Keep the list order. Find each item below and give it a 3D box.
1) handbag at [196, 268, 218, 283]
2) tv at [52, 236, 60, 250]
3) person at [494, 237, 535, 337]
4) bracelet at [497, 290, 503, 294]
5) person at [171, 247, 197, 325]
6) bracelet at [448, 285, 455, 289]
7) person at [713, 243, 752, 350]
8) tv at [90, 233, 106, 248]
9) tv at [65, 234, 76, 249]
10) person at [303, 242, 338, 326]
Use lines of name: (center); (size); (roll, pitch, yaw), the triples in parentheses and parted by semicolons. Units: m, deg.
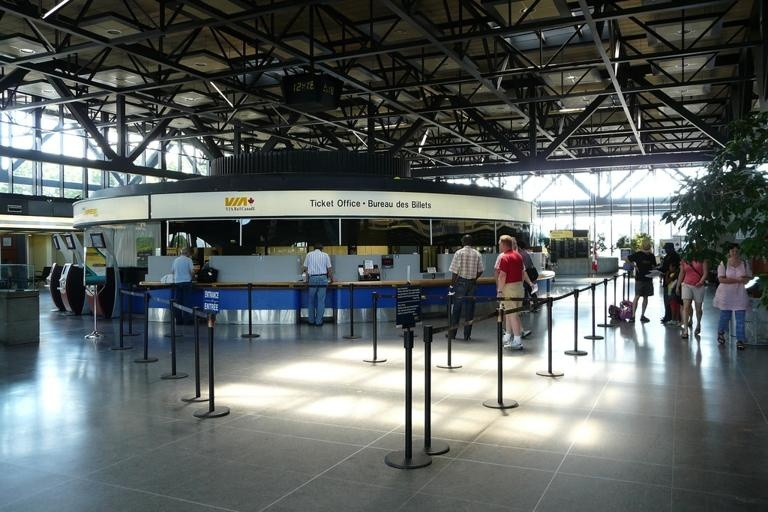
handbag: (-4.165, 0.489, 14.249); (0.665, 0.399, 0.331); (0, -11, 1)
tv: (-8.730, -0.394, 16.037); (0.107, 0.436, 2.188); (-5, 9, -30)
person: (2.399, 0.650, 11.211); (0.921, 2.034, 0.802); (-3, -2, 20)
bracelet: (2.094, 0.667, 10.919); (0.070, 0.064, 0.063); (4, 8, 23)
person: (-4.542, 0.504, 13.669); (0.461, 1.305, 0.471); (-4, 9, -19)
bracelet: (1.382, 0.627, 12.058); (0.124, 0.055, 0.160); (0, -1, -1)
person: (6.220, 0.743, 10.774); (0.526, 1.808, 0.571); (4, 9, 27)
tv: (-6.740, -0.365, 14.231); (0.359, 0.450, 0.258); (1, 19, -3)
tv: (-7.710, -0.335, 14.807); (0.171, 0.401, 0.439); (-7, 10, -39)
person: (-1.497, 0.655, 13.771); (0.624, 1.811, 0.529); (-2, 8, -10)
